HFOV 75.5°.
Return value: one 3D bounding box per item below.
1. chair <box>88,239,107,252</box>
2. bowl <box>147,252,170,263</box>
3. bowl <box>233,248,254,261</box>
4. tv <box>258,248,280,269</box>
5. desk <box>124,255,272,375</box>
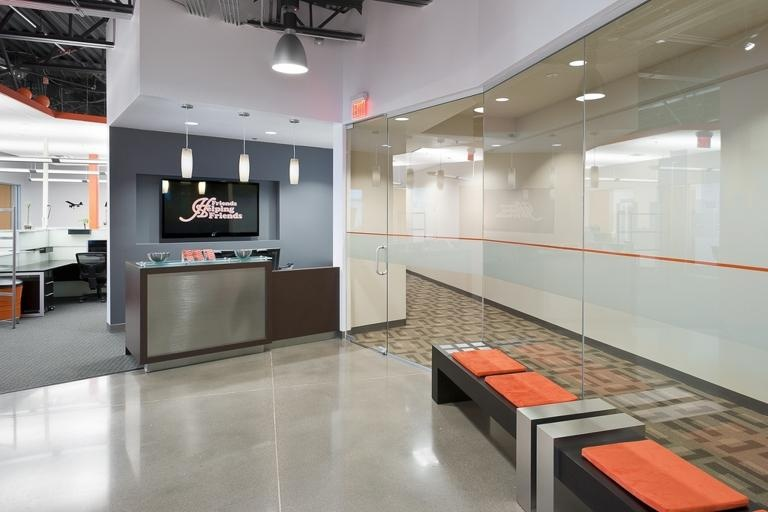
[{"bbox_3d":[-6.086,-0.237,10.507,0.353,0.202,0.342,-4,13,-18],"label":"chair"},{"bbox_3d":[-2.939,0.007,6.489,0.234,0.098,0.231,-1,-1,0],"label":"bowl"},{"bbox_3d":[-2.019,-0.029,7.139,0.201,0.113,0.194,-1,2,0],"label":"bowl"},{"bbox_3d":[-1.889,0.027,8.244,0.620,0.294,0.551,0,8,-17],"label":"tv"},{"bbox_3d":[-2.746,0.715,7.022,1.171,1.343,2.019,5,5,35],"label":"desk"}]
